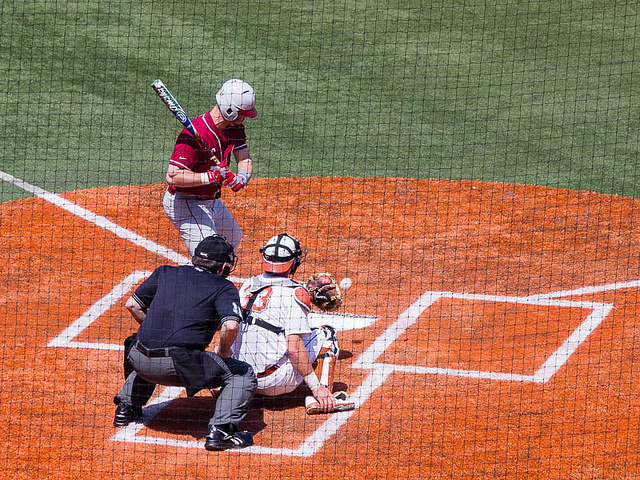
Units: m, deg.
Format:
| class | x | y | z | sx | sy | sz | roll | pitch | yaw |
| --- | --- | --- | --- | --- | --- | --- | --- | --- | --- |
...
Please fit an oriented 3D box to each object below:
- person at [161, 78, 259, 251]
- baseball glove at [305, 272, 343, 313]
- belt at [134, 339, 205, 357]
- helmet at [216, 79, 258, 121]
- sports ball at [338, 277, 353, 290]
| class | x | y | z | sx | sy | sz | roll | pitch | yaw |
| --- | --- | --- | --- | --- | --- | --- | --- | --- | --- |
| person | -1.362 | -0.847 | 16.522 | 1.366 | 2.785 | 1.048 | 10 | 50 | 0 |
| baseball glove | 0.038 | 0.612 | 15.028 | 0.388 | 0.534 | 0.319 | 2 | 32 | -7 |
| belt | -1.594 | 1.154 | 13.899 | 0.739 | 0.138 | 0.186 | 5 | 29 | 1 |
| helmet | -0.986 | -1.619 | 15.500 | 0.566 | 0.367 | 0.364 | 10 | 16 | -19 |
| sports ball | 0.320 | 0.541 | 16.496 | 0.150 | 0.078 | 0.156 | -2 | 17 | 1 |
